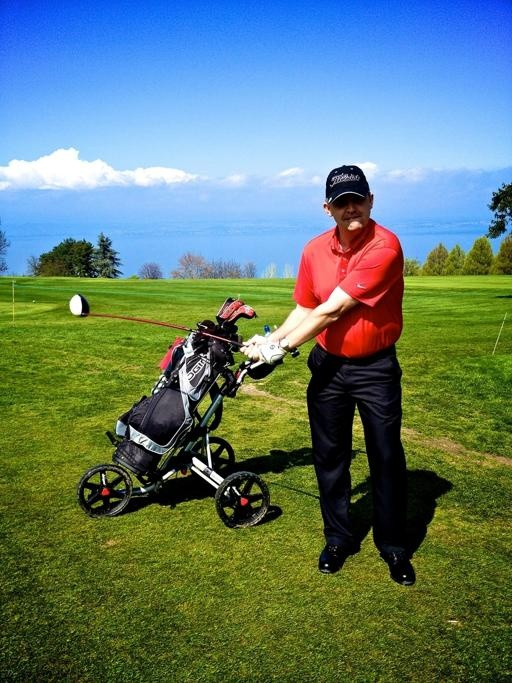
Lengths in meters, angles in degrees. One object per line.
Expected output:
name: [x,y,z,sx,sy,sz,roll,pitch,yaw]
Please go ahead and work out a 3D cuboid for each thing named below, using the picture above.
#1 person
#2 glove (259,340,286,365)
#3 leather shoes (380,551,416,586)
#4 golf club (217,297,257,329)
person: [0.518,0.219,3.088,0.973,2.381,0.693,4,5,17]
glove: [0.092,0.076,3.117,0.155,0.165,0.263,2,5,0]
leather shoes: [0.867,1.356,3.115,0.088,0.078,0.208,-7,10,-9]
golf club: [-0.140,-0.203,3.845,0.231,0.235,0.095,44,-13,23]
